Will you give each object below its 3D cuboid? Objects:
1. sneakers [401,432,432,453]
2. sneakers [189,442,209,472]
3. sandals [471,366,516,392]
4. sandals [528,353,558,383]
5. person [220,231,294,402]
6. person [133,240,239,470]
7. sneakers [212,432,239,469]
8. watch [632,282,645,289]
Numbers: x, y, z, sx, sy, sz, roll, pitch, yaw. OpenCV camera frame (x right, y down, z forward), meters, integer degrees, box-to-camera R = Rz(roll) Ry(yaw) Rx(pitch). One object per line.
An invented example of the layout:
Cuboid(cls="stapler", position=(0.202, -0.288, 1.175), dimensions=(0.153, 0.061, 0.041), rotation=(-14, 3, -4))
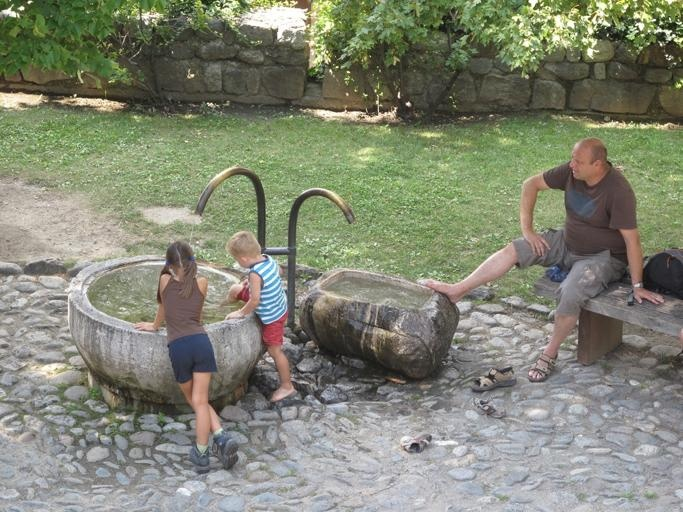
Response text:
Cuboid(cls="sneakers", position=(0.571, 1.398, 6.669), dimensions=(0.174, 0.079, 0.125), rotation=(-15, 18, -36))
Cuboid(cls="sneakers", position=(-1.055, 1.486, 6.493), dimensions=(0.093, 0.141, 0.233), rotation=(-1, 10, -21))
Cuboid(cls="sandals", position=(1.261, 0.994, 7.236), dimensions=(0.404, 0.162, 0.154), rotation=(-9, 19, 4))
Cuboid(cls="sandals", position=(1.647, 0.912, 7.206), dimensions=(0.135, 0.118, 0.342), rotation=(13, 25, 32))
Cuboid(cls="person", position=(-0.664, 0.410, 7.187), dimensions=(0.487, 1.440, 0.603), rotation=(9, 18, 20))
Cuboid(cls="person", position=(-1.161, 0.708, 6.601), dimensions=(0.509, 1.523, 1.019), rotation=(-10, 23, -26))
Cuboid(cls="sneakers", position=(-0.872, 1.423, 6.532), dimensions=(0.122, 0.240, 0.179), rotation=(-14, 25, -35))
Cuboid(cls="watch", position=(2.407, 0.233, 7.116), dimensions=(0.050, 0.046, 0.048), rotation=(-9, 10, 2))
